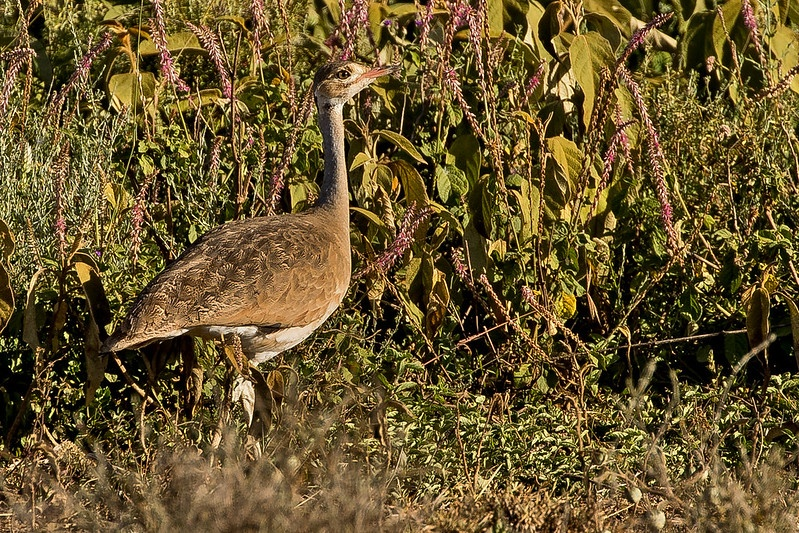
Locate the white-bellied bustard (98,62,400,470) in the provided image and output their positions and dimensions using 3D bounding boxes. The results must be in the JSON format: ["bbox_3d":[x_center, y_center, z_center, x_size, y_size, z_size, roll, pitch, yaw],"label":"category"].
[{"bbox_3d":[-0.811,-0.065,6.481,1.664,2.108,0.848,-9,26,-27],"label":"white-bellied bustard"}]
